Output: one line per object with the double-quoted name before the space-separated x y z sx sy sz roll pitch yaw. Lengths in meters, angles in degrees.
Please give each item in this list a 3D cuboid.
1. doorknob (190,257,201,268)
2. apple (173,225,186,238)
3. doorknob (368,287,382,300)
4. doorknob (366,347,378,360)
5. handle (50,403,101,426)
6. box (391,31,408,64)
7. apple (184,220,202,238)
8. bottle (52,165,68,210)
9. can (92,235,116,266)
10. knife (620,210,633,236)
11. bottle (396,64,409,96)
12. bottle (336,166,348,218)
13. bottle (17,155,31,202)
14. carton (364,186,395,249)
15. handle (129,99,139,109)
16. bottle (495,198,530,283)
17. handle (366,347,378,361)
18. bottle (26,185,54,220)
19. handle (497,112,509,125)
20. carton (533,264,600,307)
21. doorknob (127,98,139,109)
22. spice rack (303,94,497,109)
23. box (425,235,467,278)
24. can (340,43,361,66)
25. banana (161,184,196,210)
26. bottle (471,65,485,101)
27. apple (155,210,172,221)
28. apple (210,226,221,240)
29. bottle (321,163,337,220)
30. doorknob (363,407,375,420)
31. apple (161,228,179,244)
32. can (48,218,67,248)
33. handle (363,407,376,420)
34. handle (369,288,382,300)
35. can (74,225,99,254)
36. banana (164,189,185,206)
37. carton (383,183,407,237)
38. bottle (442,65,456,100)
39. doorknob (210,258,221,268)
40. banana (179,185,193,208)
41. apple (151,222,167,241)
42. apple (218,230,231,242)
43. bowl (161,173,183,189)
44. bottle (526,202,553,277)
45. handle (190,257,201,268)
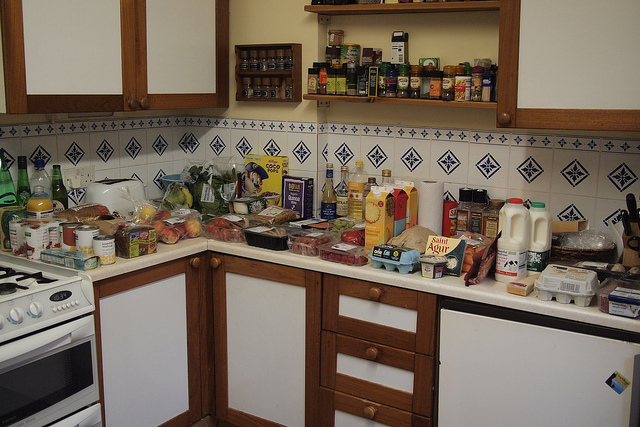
"doorknob" -0.694 0.270 2.584 0.027 0.051 0.050 -4 5 39
"apple" -0.790 0.105 2.626 0.053 0.068 0.055 -1 5 14
"doorknob" 0.269 0.388 2.257 0.059 0.062 0.031 2 11 40
"doorknob" 0.260 0.693 2.302 0.060 0.065 0.034 4 8 28
"handle" -1.098 0.894 2.068 0.133 0.042 0.150 -9 4 29
"box" 0.468 -0.966 2.717 0.093 0.179 0.059 0 11 3
"apple" -0.716 0.091 2.673 0.082 0.088 0.086 9 -2 1
"bottle" -1.537 -0.153 2.748 0.065 0.255 0.063 -1 11 0
"can" -1.049 0.172 2.285 0.125 0.143 0.128 1 8 -3
"knife" 1.491 0.035 2.260 0.032 0.143 0.041 -17 13 -15
"bottle" 0.471 -0.756 2.646 0.074 0.164 0.037 2 12 13
"bottle" 0.145 -0.124 3.008 0.073 0.278 0.166 0 12 4
"bottle" -1.684 -0.198 2.633 0.070 0.253 0.112 -8 14 -33
"carton" 0.320 0.031 2.505 0.139 0.340 0.150 -7 13 -38
"handle" -1.069 -0.635 2.676 0.015 0.044 0.042 6 2 40
"bottle" 0.879 0.128 2.200 0.147 0.390 0.168 7 21 20
"handle" 0.260 0.693 2.302 0.061 0.065 0.033 5 11 29
"bottle" -1.461 -0.054 2.432 0.120 0.155 0.198 -12 17 -43
"handle" 0.916 -0.472 2.315 0.051 0.055 0.018 3 12 18
"carton" 1.041 0.284 2.032 0.254 0.147 0.305 8 17 28
"doorknob" -1.074 -0.637 2.691 0.026 0.060 0.070 6 14 30
"spice rack" 0.440 -0.660 2.705 1.153 0.085 0.213 7 15 28
"box" 0.622 0.183 2.250 0.220 0.170 0.220 2 17 13
"can" 0.184 -0.972 2.853 0.126 0.145 0.129 -5 18 -15
"banana" -0.887 -0.104 2.934 0.134 0.087 0.182 1 38 -6
"bottle" 0.848 -0.696 2.496 0.063 0.176 0.036 2 12 15
"apple" -0.915 0.015 2.711 0.055 0.054 0.054 9 -10 -44
"apple" -0.600 0.106 2.657 0.057 0.073 0.059 -3 -2 -2
"bottle" 0.059 -0.147 2.993 0.101 0.341 0.172 -1 12 -3
"doorknob" 0.250 1.000 2.331 0.071 0.076 0.024 -2 3 32
"apple" -0.826 0.125 2.568 0.079 0.081 0.081 2 11 23
"can" -1.330 0.100 2.399 0.113 0.134 0.115 2 6 -7
"handle" 0.251 0.997 2.332 0.063 0.075 0.038 8 13 27
"handle" 0.264 0.386 2.249 0.050 0.053 0.012 -25 -4 37
"can" -1.153 0.110 2.314 0.122 0.190 0.114 3 10 0
"banana" -0.913 -0.104 2.933 0.098 0.090 0.083 9 15 37
"carton" 0.451 -0.004 2.607 0.155 0.300 0.158 -7 8 -13
"bottle" 0.710 -0.717 2.549 0.063 0.177 0.038 0 11 6
"doorknob" -0.597 0.280 2.643 0.072 0.057 0.020 6 13 27
"banana" -0.834 -0.102 2.942 0.033 0.116 0.111 -7 -16 -36
"apple" -0.891 0.099 2.585 0.069 0.096 0.052 4 -11 7
"apple" -0.535 0.128 2.634 0.055 0.070 0.058 -3 -1 7
"bowl" -1.000 -0.235 3.168 0.119 0.061 0.123 1 7 0
"bottle" 1.037 0.131 2.240 0.144 0.335 0.134 0 7 0
"handle" -0.694 0.271 2.585 0.030 0.058 0.055 -5 1 38
